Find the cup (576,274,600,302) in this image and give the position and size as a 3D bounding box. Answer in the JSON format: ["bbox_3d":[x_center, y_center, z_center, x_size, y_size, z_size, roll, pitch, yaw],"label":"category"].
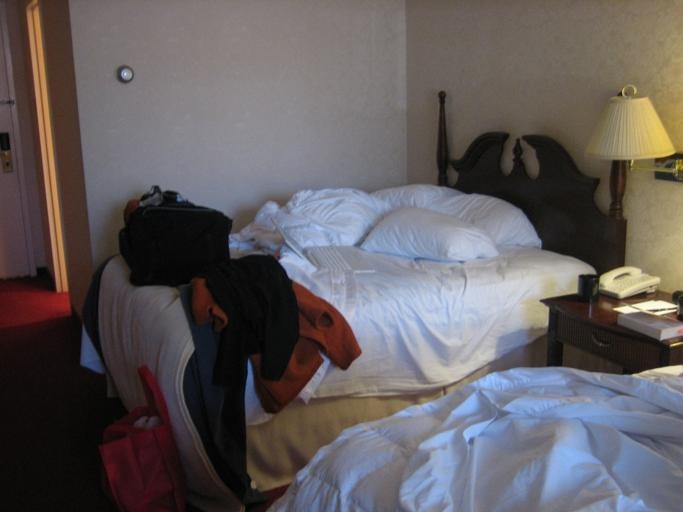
[{"bbox_3d":[1.184,0.150,2.863,0.102,0.132,0.114,-1,11,9],"label":"cup"}]

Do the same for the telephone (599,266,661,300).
[{"bbox_3d":[1.410,0.124,2.904,0.241,0.113,0.203,-10,11,-15],"label":"telephone"}]

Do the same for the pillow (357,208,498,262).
[{"bbox_3d":[0.503,-0.131,3.445,0.803,0.249,0.305,10,21,34],"label":"pillow"}]

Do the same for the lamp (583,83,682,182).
[{"bbox_3d":[1.428,-0.646,2.960,0.354,0.361,0.397,-18,22,-22],"label":"lamp"}]
